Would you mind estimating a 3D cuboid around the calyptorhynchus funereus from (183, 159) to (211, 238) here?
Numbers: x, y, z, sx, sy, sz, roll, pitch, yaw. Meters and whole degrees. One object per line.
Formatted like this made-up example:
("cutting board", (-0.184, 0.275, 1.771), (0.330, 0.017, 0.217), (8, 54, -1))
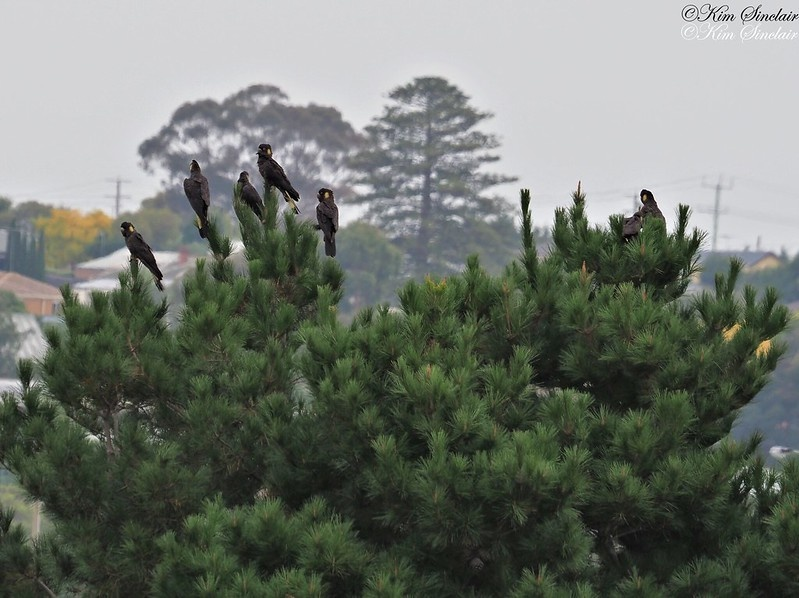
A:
("calyptorhynchus funereus", (-6.372, -3.182, 66.799), (0.711, 2.655, 1.378), (-6, -6, 12))
